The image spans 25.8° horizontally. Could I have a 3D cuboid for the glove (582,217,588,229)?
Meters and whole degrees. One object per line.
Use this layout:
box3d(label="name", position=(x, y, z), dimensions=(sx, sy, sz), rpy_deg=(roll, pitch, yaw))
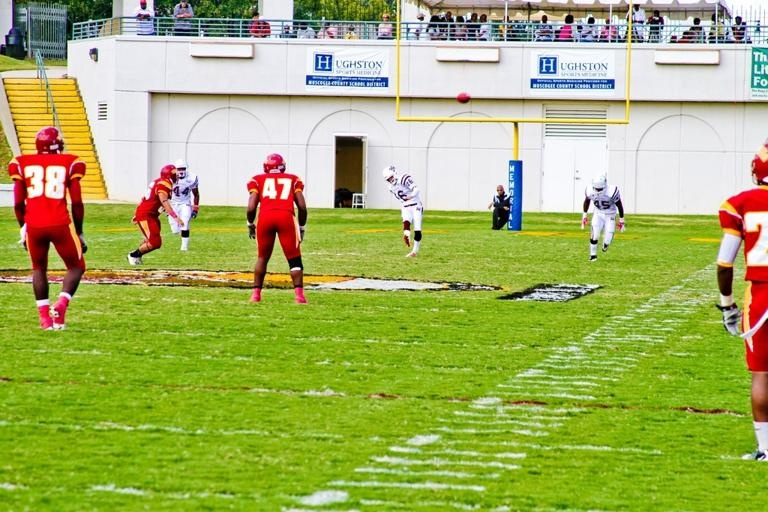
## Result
box3d(label="glove", position=(5.353, -0.873, 44.517), dimensions=(0.093, 0.318, 0.129), rpy_deg=(9, -10, 9))

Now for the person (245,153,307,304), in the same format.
box3d(label="person", position=(-2.188, -0.593, 34.223), dimensions=(1.167, 2.944, 1.442), rpy_deg=(-1, 9, -5))

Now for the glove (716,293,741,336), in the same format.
box3d(label="glove", position=(6.007, 1.029, 29.266), dimensions=(0.514, 0.683, 0.231), rpy_deg=(-5, 13, -13))

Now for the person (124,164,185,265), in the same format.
box3d(label="person", position=(-5.394, -1.016, 38.834), dimensions=(1.332, 2.156, 0.989), rpy_deg=(-1, 2, -41))

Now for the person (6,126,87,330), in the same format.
box3d(label="person", position=(-6.341, -0.511, 31.827), dimensions=(1.317, 3.820, 0.587), rpy_deg=(-2, 9, -11))

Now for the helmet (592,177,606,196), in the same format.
box3d(label="helmet", position=(5.181, -1.702, 40.116), dimensions=(0.323, 0.430, 0.402), rpy_deg=(1, 9, 7))
